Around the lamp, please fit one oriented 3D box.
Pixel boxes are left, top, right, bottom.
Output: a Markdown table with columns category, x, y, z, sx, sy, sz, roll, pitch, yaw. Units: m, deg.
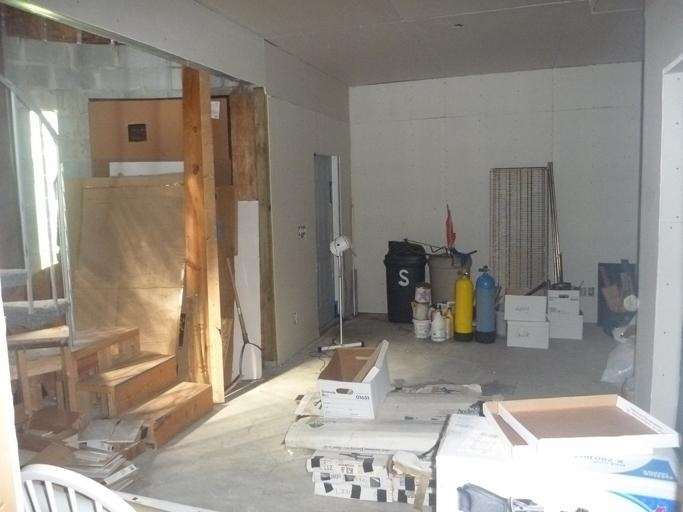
| category | x | y | z | sx | sy | sz | roll | pitch | yaw |
| --- | --- | --- | --- | --- | --- | --- | --- | --- | --- |
| lamp | -0.030 | 0.371 | 6.415 | 0.520 | 1.244 | 0.507 | -1 | -4 | -10 |

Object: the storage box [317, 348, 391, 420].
| category | x | y | z | sx | sy | sz | roll | pitch | yaw |
| --- | --- | --- | --- | --- | --- | --- | --- | --- | --- |
| storage box | 0.104 | 1.076 | 4.654 | 0.480 | 0.388 | 0.665 | 0 | -2 | 6 |

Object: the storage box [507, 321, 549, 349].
| category | x | y | z | sx | sy | sz | roll | pitch | yaw |
| --- | --- | --- | --- | --- | --- | --- | --- | --- | --- |
| storage box | 2.187 | 0.866 | 6.630 | 0.346 | 0.220 | 0.347 | 1 | 2 | 37 |

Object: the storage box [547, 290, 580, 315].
| category | x | y | z | sx | sy | sz | roll | pitch | yaw |
| --- | --- | --- | --- | --- | --- | --- | --- | --- | --- |
| storage box | 2.692 | 0.546 | 6.864 | 0.417 | 0.315 | 0.273 | 1 | 4 | 17 |

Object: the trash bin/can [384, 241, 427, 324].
| category | x | y | z | sx | sy | sz | roll | pitch | yaw |
| --- | --- | --- | --- | --- | --- | --- | --- | --- | --- |
| trash bin/can | 0.863 | 0.363 | 7.657 | 0.568 | 1.108 | 0.538 | 0 | 10 | 14 |

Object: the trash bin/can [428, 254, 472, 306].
| category | x | y | z | sx | sy | sz | roll | pitch | yaw |
| --- | --- | --- | --- | --- | --- | --- | --- | --- | --- |
| trash bin/can | 1.510 | 0.293 | 7.651 | 0.591 | 0.659 | 0.605 | 2 | 5 | 17 |

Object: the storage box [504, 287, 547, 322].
| category | x | y | z | sx | sy | sz | roll | pitch | yaw |
| --- | --- | --- | --- | --- | --- | --- | --- | --- | --- |
| storage box | 2.167 | 0.556 | 6.667 | 0.345 | 0.217 | 0.351 | 1 | 3 | 37 |

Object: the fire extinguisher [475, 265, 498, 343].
| category | x | y | z | sx | sy | sz | roll | pitch | yaw |
| --- | --- | --- | --- | --- | --- | --- | --- | --- | --- |
| fire extinguisher | 1.715 | 0.577 | 6.799 | 0.219 | 0.901 | 0.149 | 3 | 10 | 25 |

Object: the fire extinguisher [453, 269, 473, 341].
| category | x | y | z | sx | sy | sz | roll | pitch | yaw |
| --- | --- | --- | --- | --- | --- | --- | --- | --- | --- |
| fire extinguisher | 1.494 | 0.620 | 6.932 | 0.228 | 0.784 | 0.216 | 0 | 10 | 11 |

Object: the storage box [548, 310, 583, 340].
| category | x | y | z | sx | sy | sz | roll | pitch | yaw |
| --- | --- | --- | --- | --- | --- | --- | --- | --- | --- |
| storage box | 2.723 | 0.839 | 6.867 | 0.355 | 0.225 | 0.356 | 0 | 3 | 20 |
